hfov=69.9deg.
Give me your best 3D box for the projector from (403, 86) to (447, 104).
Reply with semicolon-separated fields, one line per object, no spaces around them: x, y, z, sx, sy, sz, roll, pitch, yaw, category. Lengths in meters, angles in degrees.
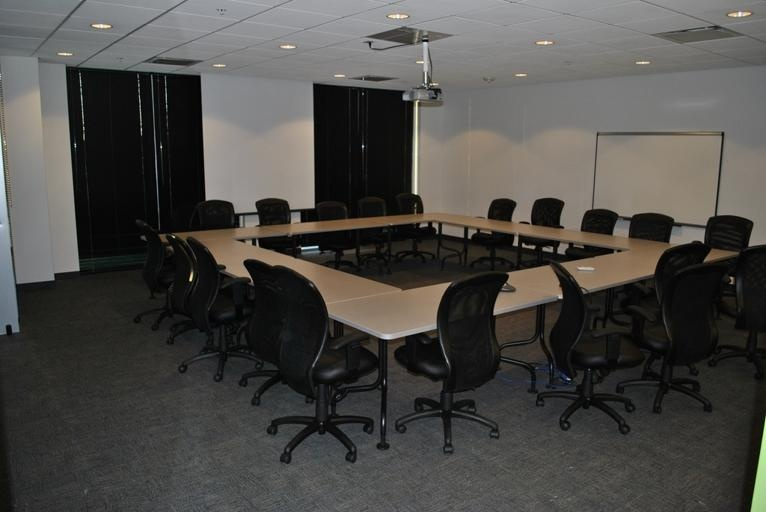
0.464;-1.826;6.057;0.332;0.120;0.224;-4;10;-32;projector
